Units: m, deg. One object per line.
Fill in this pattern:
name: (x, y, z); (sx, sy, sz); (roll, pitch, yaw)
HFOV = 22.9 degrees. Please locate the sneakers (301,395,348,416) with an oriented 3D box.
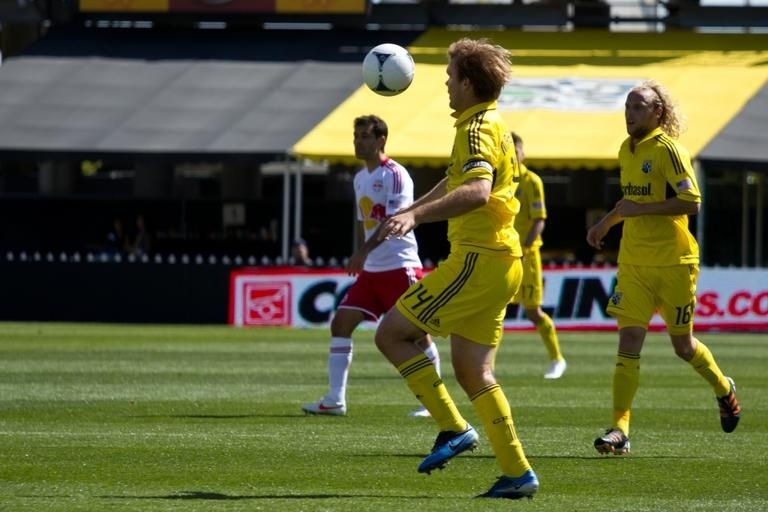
sneakers: (-0.872, 2.219, 27.532); (0.686, 0.262, 0.244); (4, -2, 5)

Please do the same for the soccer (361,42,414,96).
soccer: (0.035, -2.705, 27.360); (0.825, 0.804, 0.865); (12, 17, 39)
